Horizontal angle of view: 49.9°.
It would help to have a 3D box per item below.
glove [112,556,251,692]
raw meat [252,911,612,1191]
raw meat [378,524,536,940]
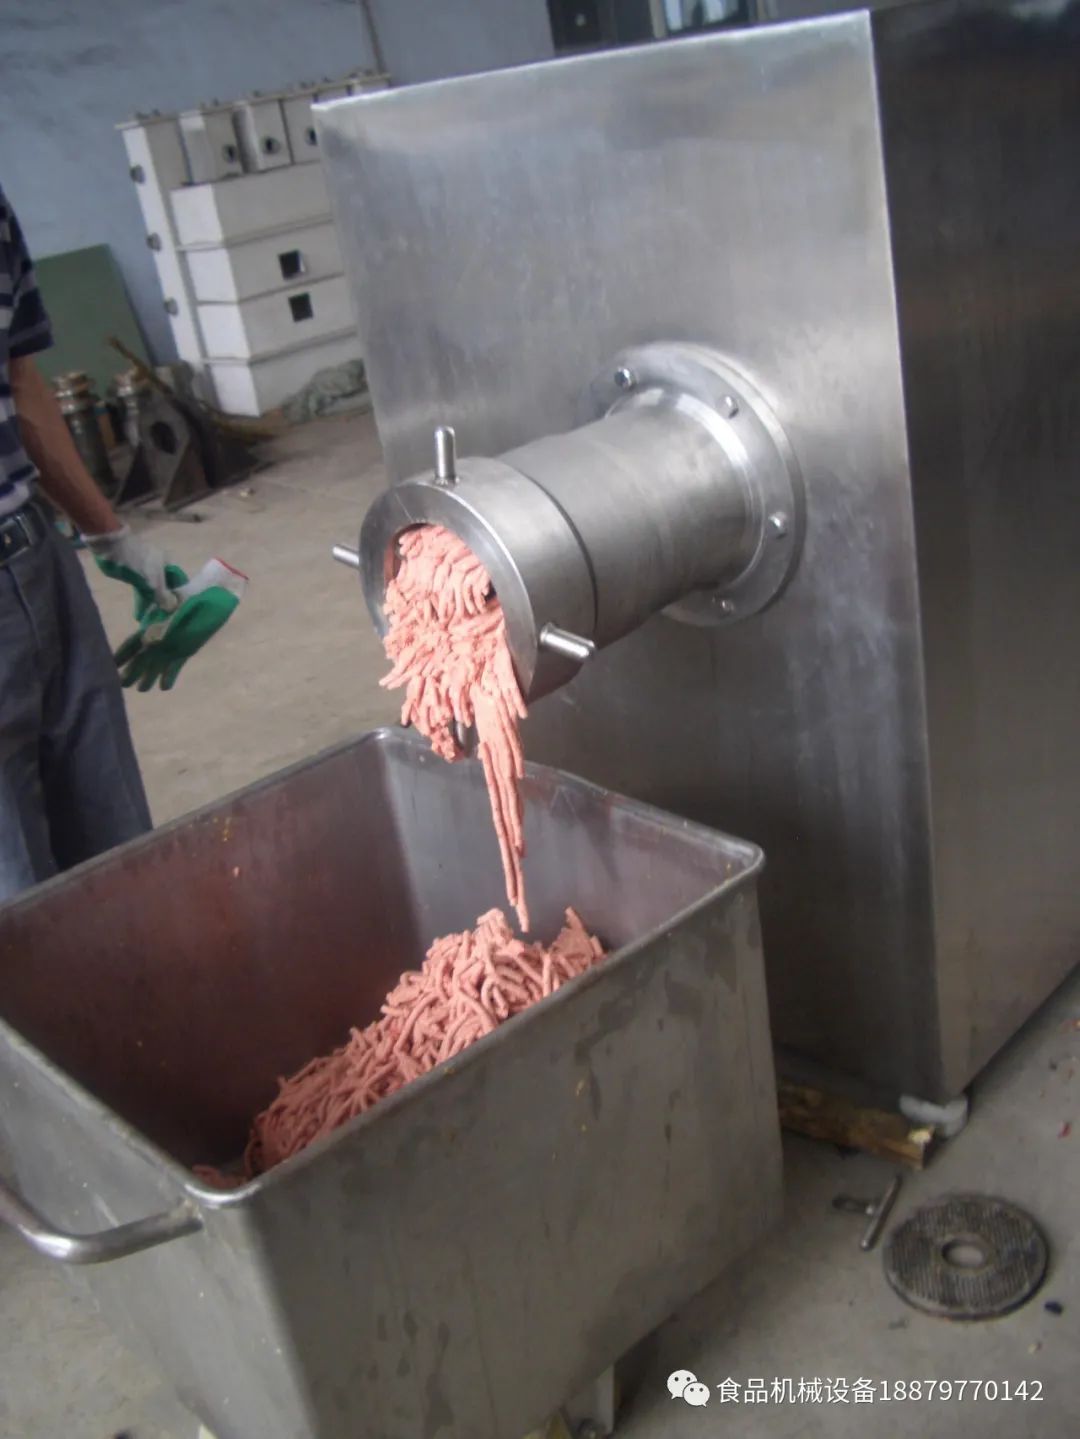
[{"bbox_3d":[-0.529,-0.171,1.642,0.178,0.184,0.099,23,39,9],"label":"glove"},{"bbox_3d":[-0.150,0.347,1.179,0.396,0.092,0.240,-42,13,5],"label":"raw meat"},{"bbox_3d":[-0.058,0.009,1.021,0.131,0.452,0.102,20,39,19],"label":"raw meat"}]
